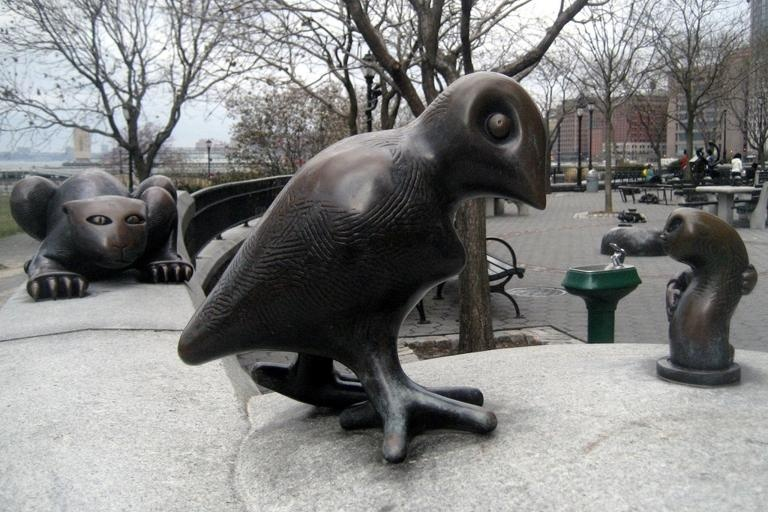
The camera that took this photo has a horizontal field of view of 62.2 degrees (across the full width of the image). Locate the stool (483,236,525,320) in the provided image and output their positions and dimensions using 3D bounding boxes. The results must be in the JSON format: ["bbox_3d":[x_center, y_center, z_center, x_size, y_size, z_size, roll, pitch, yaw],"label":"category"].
[{"bbox_3d":[1.730,0.342,9.167,0.358,0.578,1.139,-4,7,-1],"label":"stool"}]
